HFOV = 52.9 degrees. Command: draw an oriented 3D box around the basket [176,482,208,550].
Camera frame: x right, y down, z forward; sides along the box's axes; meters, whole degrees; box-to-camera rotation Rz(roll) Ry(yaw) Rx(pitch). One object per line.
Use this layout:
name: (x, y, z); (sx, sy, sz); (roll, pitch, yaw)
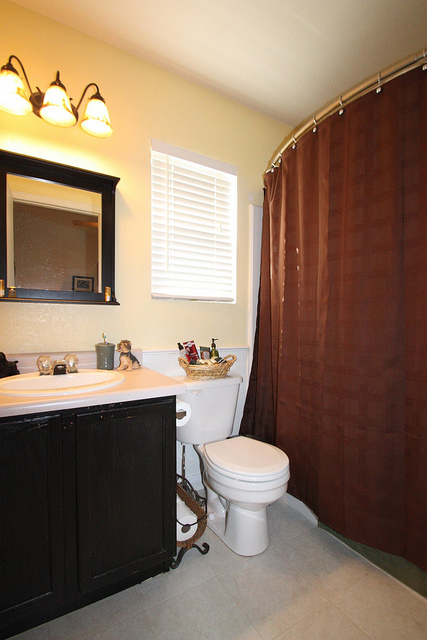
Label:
basket: (-0.094, 0.852, 1.880); (0.075, 0.099, 0.210); (40, 3, -1)

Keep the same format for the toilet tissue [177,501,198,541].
toilet tissue: (-0.110, 0.864, 1.844); (0.084, 0.101, 0.147); (0, 8, -5)

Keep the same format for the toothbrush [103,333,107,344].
toothbrush: (-0.506, 0.087, 2.016); (0.017, 0.040, 0.066); (-2, 8, -15)

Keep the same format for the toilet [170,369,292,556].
toilet: (0.090, 0.632, 1.954); (0.331, 0.717, 0.604); (-8, 9, -34)
